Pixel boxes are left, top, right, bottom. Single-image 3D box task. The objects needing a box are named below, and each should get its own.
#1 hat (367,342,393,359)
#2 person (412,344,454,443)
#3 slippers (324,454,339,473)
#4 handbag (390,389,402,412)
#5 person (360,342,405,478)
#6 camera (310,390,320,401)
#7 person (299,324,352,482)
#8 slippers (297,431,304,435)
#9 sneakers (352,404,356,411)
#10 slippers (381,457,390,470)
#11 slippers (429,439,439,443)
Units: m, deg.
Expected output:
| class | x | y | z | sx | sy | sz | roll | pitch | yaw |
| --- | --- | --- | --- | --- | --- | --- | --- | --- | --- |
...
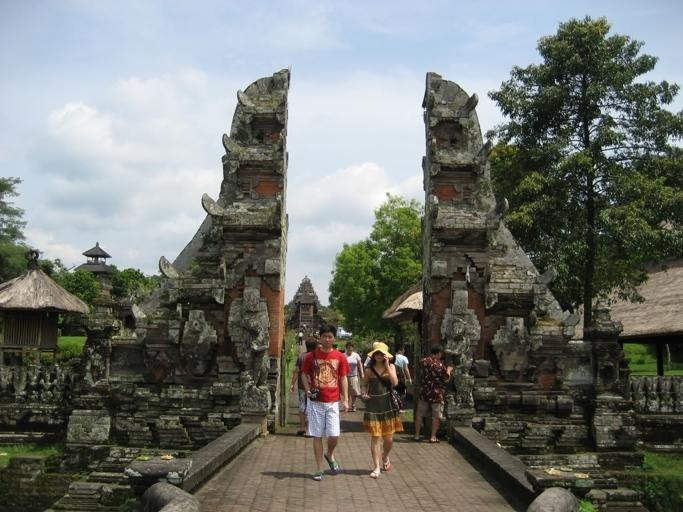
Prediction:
| class | x | y | z | sx | sy | sz | roll | pitch | yaw |
| --- | --- | --- | --- | --- | --- | --- | --- | --- | --- |
| hat | 0.796 | 1.781 | 16.488 | 0.451 | 0.262 | 0.512 | -5 | -22 | 34 |
| person | 2.074 | 3.089 | 19.187 | 0.865 | 2.109 | 1.240 | -1 | -10 | 7 |
| slippers | -0.160 | 3.994 | 16.344 | 0.124 | 0.461 | 0.167 | -20 | -8 | 26 |
| handbag | 1.036 | 2.764 | 16.380 | 0.113 | 0.406 | 0.222 | -13 | -10 | 43 |
| person | 0.777 | 2.935 | 16.320 | 0.580 | 2.525 | 0.787 | -6 | -11 | 30 |
| camera | -0.483 | 2.589 | 15.993 | 0.177 | 0.209 | 0.053 | 0 | -10 | 0 |
| person | -0.295 | 2.749 | 16.110 | 0.958 | 2.839 | 0.820 | 1 | 2 | 0 |
| slippers | -0.906 | 4.007 | 19.434 | 0.139 | 0.074 | 0.204 | 1 | -9 | -4 |
| sneakers | 0.364 | 4.148 | 23.337 | 0.086 | 0.112 | 0.280 | 0 | -14 | -3 |
| slippers | 0.878 | 4.045 | 16.665 | 0.223 | 0.161 | 0.604 | 0 | -5 | 6 |
| slippers | 2.079 | 4.062 | 18.888 | 0.228 | 0.080 | 0.082 | -2 | -1 | -12 |
